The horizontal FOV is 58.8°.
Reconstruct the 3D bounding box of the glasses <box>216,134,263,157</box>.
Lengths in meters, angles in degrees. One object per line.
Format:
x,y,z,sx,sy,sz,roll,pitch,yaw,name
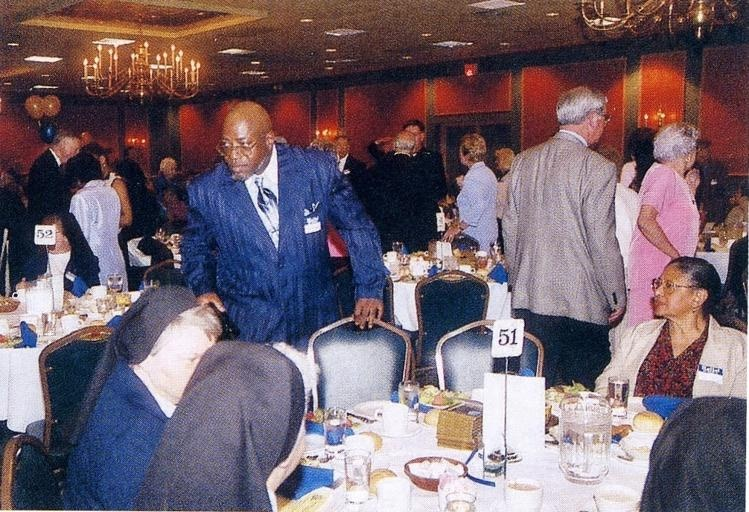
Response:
-0.595,-0.453,2.778,0.214,0.078,0.108,-1,0,38,glasses

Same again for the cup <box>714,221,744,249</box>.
3.433,-0.199,6.406,0.415,0.255,0.109,-5,-31,-24,cup

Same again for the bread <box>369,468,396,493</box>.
0.028,0.727,2.179,0.075,0.051,0.090,-3,-5,-19,bread
